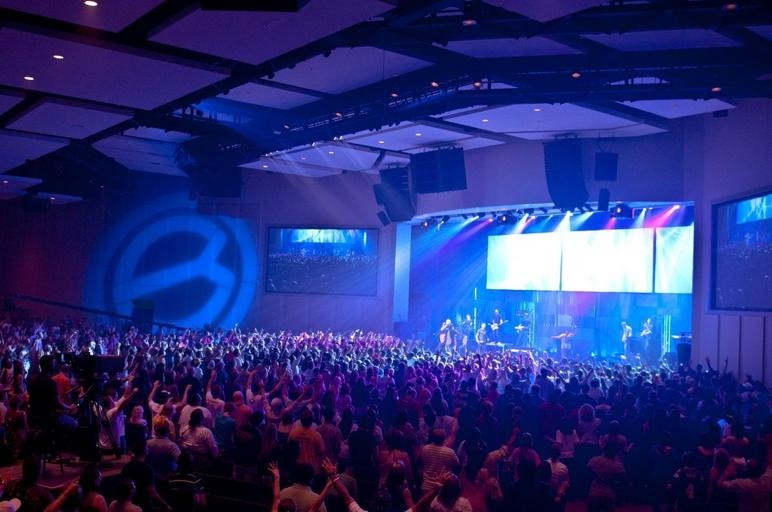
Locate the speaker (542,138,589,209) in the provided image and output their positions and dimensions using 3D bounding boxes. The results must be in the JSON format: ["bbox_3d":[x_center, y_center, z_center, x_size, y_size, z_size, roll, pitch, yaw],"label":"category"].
[{"bbox_3d":[4.659,-2.148,16.353,1.086,1.736,0.340,2,-4,13],"label":"speaker"}]

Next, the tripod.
[{"bbox_3d":[-4.580,2.600,10.149,0.527,1.486,0.915,3,-4,-4],"label":"tripod"}]

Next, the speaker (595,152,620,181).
[{"bbox_3d":[5.794,-2.371,16.567,0.566,0.745,0.358,2,-4,14],"label":"speaker"}]

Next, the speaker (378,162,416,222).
[{"bbox_3d":[0.324,-2.005,20.315,1.382,1.565,0.794,-1,-5,41],"label":"speaker"}]
